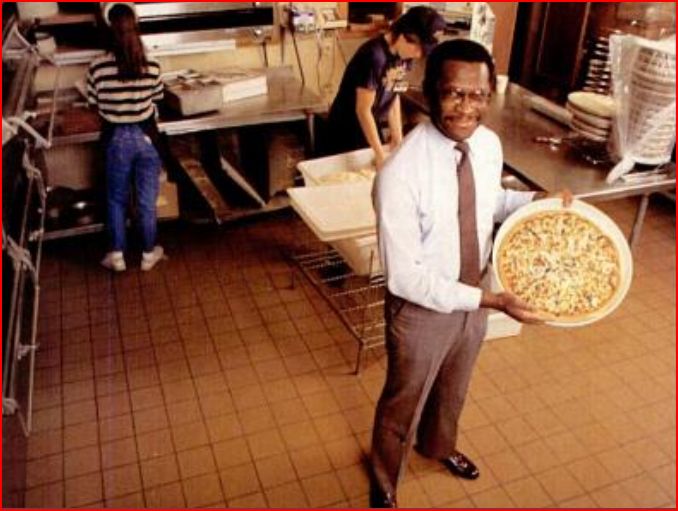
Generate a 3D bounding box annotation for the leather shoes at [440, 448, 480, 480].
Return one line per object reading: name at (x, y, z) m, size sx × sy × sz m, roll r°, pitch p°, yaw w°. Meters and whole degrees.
leather shoes at (0.584, 1.037, 2.623) m, size 0.254 × 0.098 × 0.092 m, roll 18°, pitch 46°, yaw 31°

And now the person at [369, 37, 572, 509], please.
person at (0.406, 0.206, 2.138) m, size 0.570 × 2.020 × 0.675 m, roll 0°, pitch 33°, yaw 3°

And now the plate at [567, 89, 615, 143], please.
plate at (1.709, -0.935, 3.538) m, size 0.359 × 0.170 × 0.349 m, roll 8°, pitch 33°, yaw 4°

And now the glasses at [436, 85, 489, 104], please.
glasses at (0.436, -0.560, 1.756) m, size 0.181 × 0.058 × 0.044 m, roll -4°, pitch 33°, yaw -4°

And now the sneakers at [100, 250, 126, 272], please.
sneakers at (-1.728, 0.044, 3.889) m, size 0.131 × 0.124 × 0.061 m, roll 36°, pitch 53°, yaw 26°
